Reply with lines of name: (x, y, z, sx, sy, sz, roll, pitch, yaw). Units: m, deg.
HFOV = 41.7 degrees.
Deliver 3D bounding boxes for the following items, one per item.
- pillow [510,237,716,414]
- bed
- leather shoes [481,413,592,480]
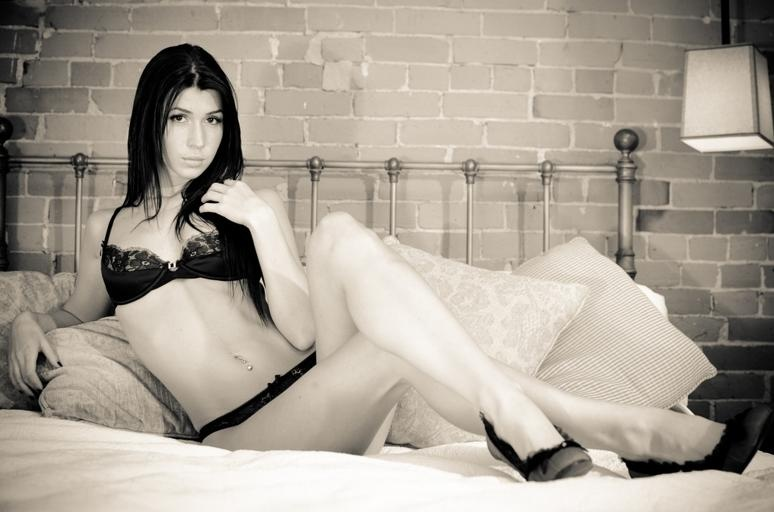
pillow: (1.097, 0.218, 4.633, 0.683, 0.227, 0.972, 14, 28, -44)
bed: (-0.027, 0.162, 4.546, 2.784, 1.745, 1.367, 0, 6, 29)
leather shoes: (0.553, 0.725, 3.772, 0.320, 0.146, 0.208, 29, 41, 35)
